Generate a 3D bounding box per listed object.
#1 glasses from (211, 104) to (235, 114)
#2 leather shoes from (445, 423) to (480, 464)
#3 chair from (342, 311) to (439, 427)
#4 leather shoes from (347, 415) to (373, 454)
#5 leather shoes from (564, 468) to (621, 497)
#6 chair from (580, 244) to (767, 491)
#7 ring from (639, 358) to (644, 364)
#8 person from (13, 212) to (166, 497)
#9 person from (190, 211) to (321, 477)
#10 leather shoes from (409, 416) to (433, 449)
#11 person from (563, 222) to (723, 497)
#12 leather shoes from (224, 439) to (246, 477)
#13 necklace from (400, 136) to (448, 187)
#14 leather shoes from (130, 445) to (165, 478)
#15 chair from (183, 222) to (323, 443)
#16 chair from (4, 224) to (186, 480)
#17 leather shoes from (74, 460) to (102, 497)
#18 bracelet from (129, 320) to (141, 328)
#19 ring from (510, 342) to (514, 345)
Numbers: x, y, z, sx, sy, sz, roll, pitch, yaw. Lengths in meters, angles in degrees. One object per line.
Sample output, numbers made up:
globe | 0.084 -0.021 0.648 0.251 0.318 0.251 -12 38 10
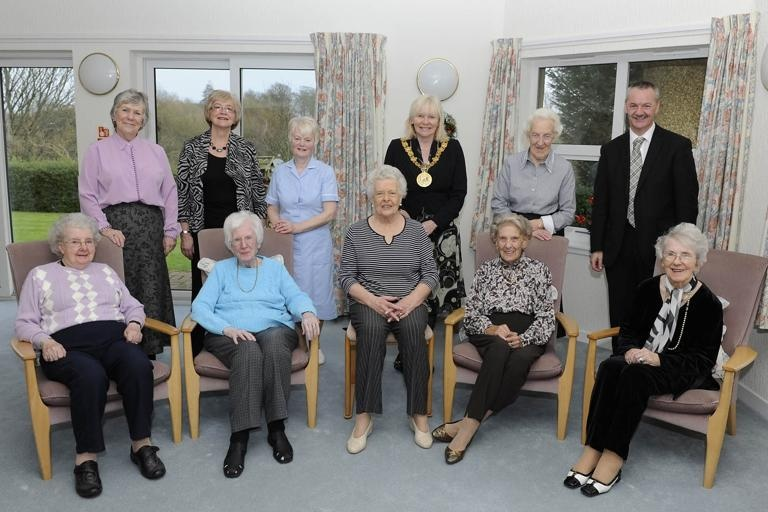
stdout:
glasses | -1.228 -1.128 4.066 0.160 0.065 0.044 -5 16 -21
leather shoes | 0.486 1.162 3.367 0.223 0.242 0.089 -10 19 -35
chair | 0.117 0.739 3.892 0.553 1.020 0.731 0 -7 -2
leather shoes | -0.147 1.182 3.535 0.093 0.106 0.259 0 7 19
leather shoes | 1.209 1.331 3.123 0.279 0.092 0.133 7 16 22
chair | 1.899 0.615 3.887 1.157 1.611 1.401 2 4 43
ring | 1.569 0.631 3.219 0.016 0.023 0.019 -4 -6 12
person | -1.809 0.533 3.273 0.695 1.478 1.006 -12 20 -38
person | -0.825 0.509 3.467 0.777 1.496 0.835 -6 16 -22
leather shoes | 0.235 1.171 3.540 0.092 0.096 0.228 -1 8 -22
person | 1.577 0.585 3.213 0.949 1.487 0.543 -8 17 -29
leather shoes | -0.913 1.232 3.241 0.130 0.157 0.171 -2 15 -10
necklace | 0.338 -0.746 4.309 0.477 0.530 0.083 0 -6 6
leather shoes | -1.434 1.228 3.211 0.119 0.115 0.276 -9 14 -43
chair | -1.008 0.484 4.111 1.199 1.798 1.293 0 0 -7
chair | -1.972 0.555 3.770 1.217 1.718 1.403 -5 9 -37
leather shoes | -1.720 1.278 3.095 0.110 0.103 0.230 1 7 -30
bracelet | -1.619 0.433 3.455 0.050 0.012 0.051 27 -27 -5
ring | 0.853 0.576 3.524 0.015 0.015 0.005 -3 -18 6
